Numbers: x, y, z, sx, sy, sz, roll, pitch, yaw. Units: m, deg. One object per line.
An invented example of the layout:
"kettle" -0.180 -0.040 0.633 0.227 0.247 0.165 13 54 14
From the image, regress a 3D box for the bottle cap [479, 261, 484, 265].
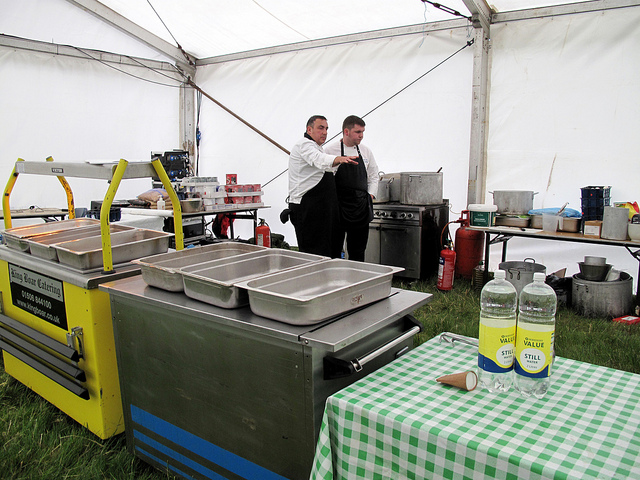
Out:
"bottle cap" 2.022 0.277 5.717 0.033 0.056 0.056 -7 12 -35

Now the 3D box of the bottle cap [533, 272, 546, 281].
"bottle cap" 0.829 0.131 1.726 0.043 0.034 0.045 0 4 12

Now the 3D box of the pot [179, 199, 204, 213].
"pot" -1.553 -0.414 5.522 0.167 0.108 0.225 0 -1 28

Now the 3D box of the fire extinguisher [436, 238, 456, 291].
"fire extinguisher" 1.478 0.298 5.344 0.204 0.622 0.184 7 19 19

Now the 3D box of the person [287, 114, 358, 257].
"person" -0.043 -0.528 4.695 0.727 1.454 0.414 3 9 21

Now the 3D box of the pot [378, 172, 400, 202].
"pot" 0.932 -0.696 5.871 0.290 0.346 0.339 5 12 28

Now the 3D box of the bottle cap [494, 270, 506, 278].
"bottle cap" 0.693 0.124 1.744 0.032 0.020 0.033 0 4 1

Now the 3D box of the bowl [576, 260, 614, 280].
"bowl" 2.775 0.305 4.702 0.229 0.115 0.239 2 4 0

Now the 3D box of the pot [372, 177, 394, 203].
"pot" 0.790 -0.618 5.630 0.098 0.301 0.338 7 11 40

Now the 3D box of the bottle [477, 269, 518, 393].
"bottle" 0.672 0.333 1.753 0.133 0.458 0.129 -2 10 0

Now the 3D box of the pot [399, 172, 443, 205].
"pot" 1.252 -0.648 5.572 0.513 0.388 0.540 -1 14 0

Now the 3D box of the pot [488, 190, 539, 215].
"pot" 2.196 -0.451 5.141 0.266 0.190 0.397 -5 9 -36
